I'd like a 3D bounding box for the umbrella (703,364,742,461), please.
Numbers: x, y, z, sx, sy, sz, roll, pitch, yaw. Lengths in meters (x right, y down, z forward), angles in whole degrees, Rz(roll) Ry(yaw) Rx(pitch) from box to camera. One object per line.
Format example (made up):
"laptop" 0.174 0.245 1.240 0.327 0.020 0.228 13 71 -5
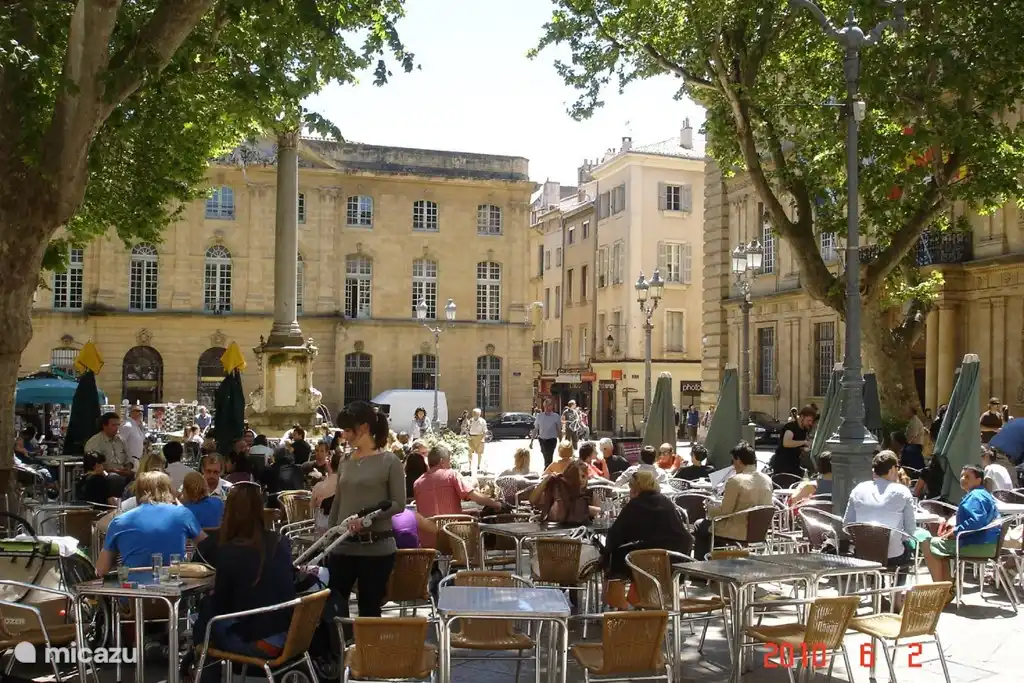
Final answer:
"umbrella" 3.977 1.417 28.009 0.848 1.810 0.708 3 -6 6

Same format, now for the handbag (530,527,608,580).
"handbag" 0.460 3.130 20.831 0.659 0.880 1.712 -1 -2 -3

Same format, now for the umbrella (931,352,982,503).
"umbrella" 7.624 1.528 25.069 0.844 2.381 0.902 3 -6 2
